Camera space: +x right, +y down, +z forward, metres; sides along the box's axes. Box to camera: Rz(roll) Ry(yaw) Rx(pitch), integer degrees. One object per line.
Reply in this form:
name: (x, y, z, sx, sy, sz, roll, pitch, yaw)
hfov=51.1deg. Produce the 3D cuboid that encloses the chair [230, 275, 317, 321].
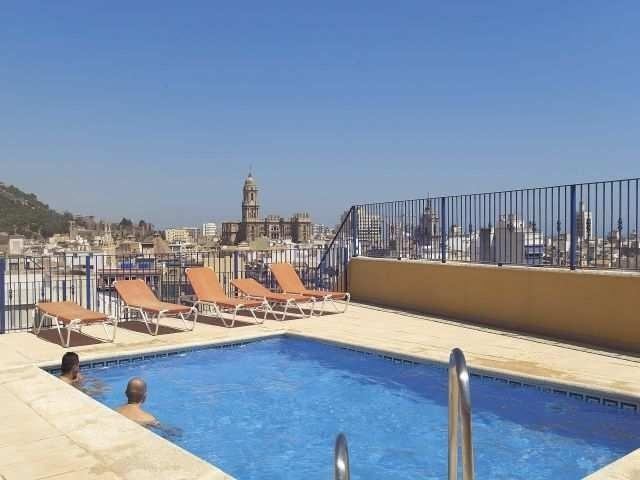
chair: (-0.765, 1.142, 12.522, 1.644, 0.560, 0.738, 2, 3, 25)

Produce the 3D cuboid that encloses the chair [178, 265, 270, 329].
chair: (-1.764, 1.026, 12.037, 1.552, 0.888, 0.809, 4, 4, 38)

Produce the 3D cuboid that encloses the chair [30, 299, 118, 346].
chair: (-3.953, 1.225, 10.354, 0.724, 0.406, 1.386, 1, 1, -40)

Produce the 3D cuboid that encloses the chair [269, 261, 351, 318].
chair: (-0.261, 0.960, 13.161, 1.605, 0.864, 0.830, 4, 1, 43)

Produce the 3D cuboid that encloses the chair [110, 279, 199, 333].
chair: (-2.807, 1.124, 11.130, 0.759, 0.746, 1.691, -2, 3, -45)
